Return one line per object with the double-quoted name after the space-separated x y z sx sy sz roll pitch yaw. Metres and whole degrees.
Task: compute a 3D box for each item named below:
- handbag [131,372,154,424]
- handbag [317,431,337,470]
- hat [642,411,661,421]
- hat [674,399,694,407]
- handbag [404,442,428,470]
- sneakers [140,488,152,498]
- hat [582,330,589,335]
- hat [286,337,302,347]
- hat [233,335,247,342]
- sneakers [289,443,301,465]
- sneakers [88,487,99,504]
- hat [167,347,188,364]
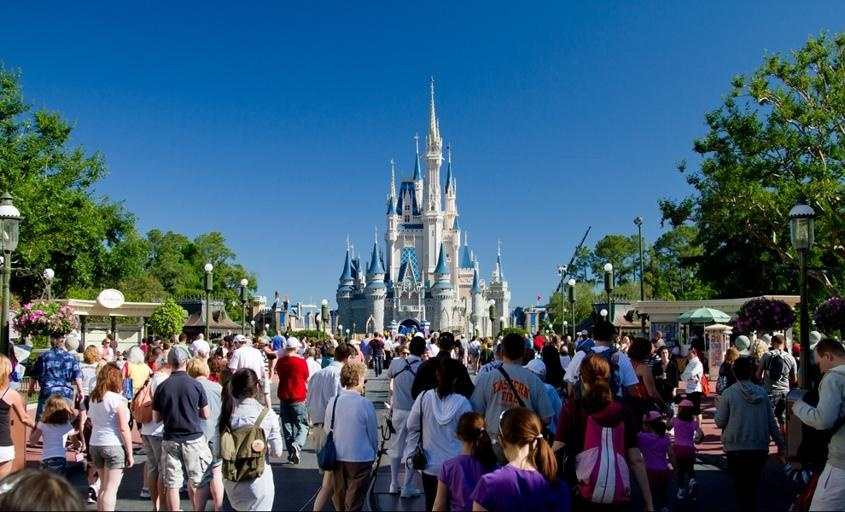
-7.262 3.512 24.717 0.807 1.456 1.496 -1 -10 -12 "handbag"
-2.255 4.685 23.361 0.443 0.931 0.743 7 -36 -18 "handbag"
5.803 4.041 24.520 0.421 0.289 0.197 3 -8 -22 "hat"
6.968 3.921 25.698 0.355 0.135 0.351 -2 -9 13 "hat"
-0.120 4.750 23.129 0.348 0.630 0.677 3 -19 24 "handbag"
-7.240 6.170 25.376 0.196 0.282 0.524 5 -9 -30 "sneakers"
4.986 2.380 29.778 0.253 0.124 0.337 1 -6 0 "hat"
-3.688 2.533 27.789 0.380 0.218 0.532 0 3 0 "hat"
-6.170 2.839 33.176 0.372 0.162 0.514 5 -4 -41 "hat"
-3.572 5.600 27.441 0.248 0.599 0.260 -7 9 -14 "sneakers"
-8.565 6.241 25.291 0.235 0.262 0.630 0 -11 -2 "sneakers"
-6.029 2.461 24.010 0.476 0.432 0.440 1 -8 -3 "hat"
